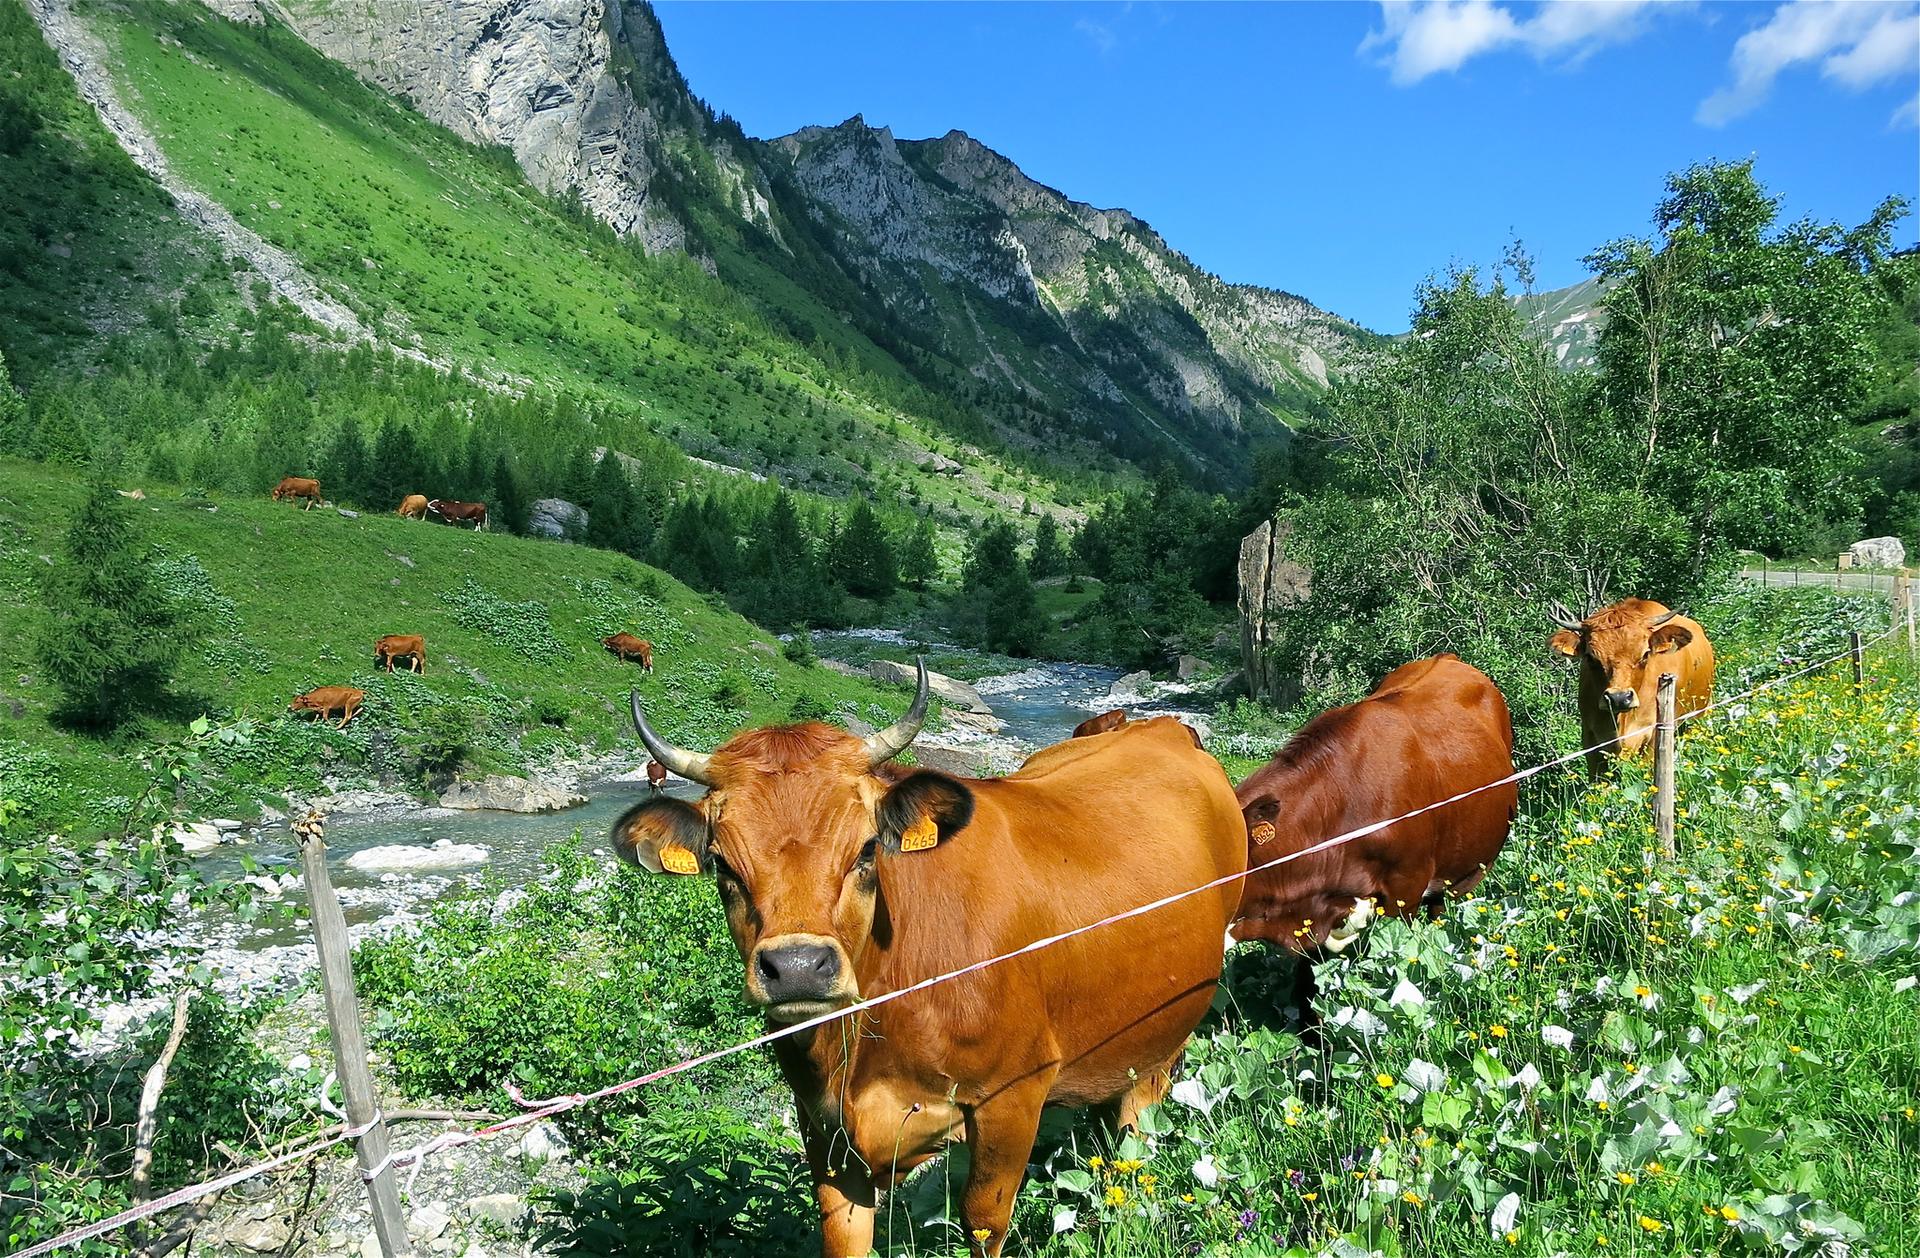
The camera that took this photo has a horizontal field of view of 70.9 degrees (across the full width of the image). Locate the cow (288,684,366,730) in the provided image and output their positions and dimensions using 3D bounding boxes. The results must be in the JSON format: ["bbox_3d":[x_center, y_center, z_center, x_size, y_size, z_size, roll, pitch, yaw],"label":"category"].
[{"bbox_3d":[-22.925,2.737,49.015,2.399,1.206,1.526,3,5,-30],"label":"cow"}]

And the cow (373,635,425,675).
[{"bbox_3d":[-22.651,0.970,54.787,2.148,1.364,1.522,2,5,-37],"label":"cow"}]
